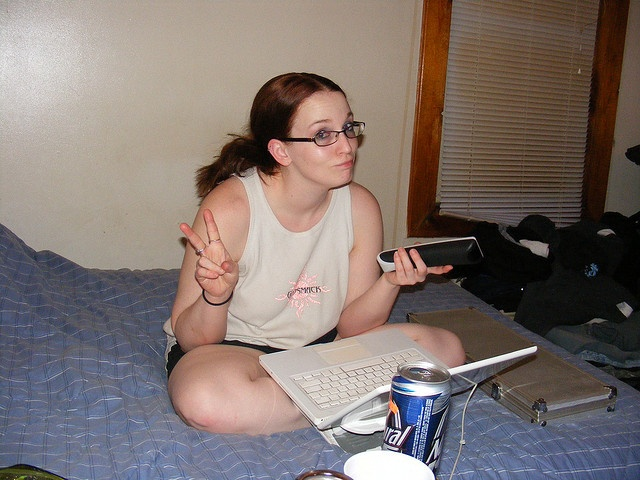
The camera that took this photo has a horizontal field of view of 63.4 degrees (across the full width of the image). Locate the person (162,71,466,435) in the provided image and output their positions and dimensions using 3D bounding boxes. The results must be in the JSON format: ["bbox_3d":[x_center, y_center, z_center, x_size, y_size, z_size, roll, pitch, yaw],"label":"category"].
[{"bbox_3d":[-0.120,0.065,2.132,1.337,1.336,1.016,-8,15,-42],"label":"person"}]

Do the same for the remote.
[{"bbox_3d":[0.343,0.055,1.627,0.265,0.064,0.133,-8,-16,18],"label":"remote"}]

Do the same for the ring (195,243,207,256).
[{"bbox_3d":[-0.335,0.028,1.438,0.019,0.012,0.026,-22,30,4],"label":"ring"}]

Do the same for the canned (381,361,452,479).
[{"bbox_3d":[0.213,0.392,1.144,0.130,0.223,0.113,9,23,12],"label":"canned"}]
